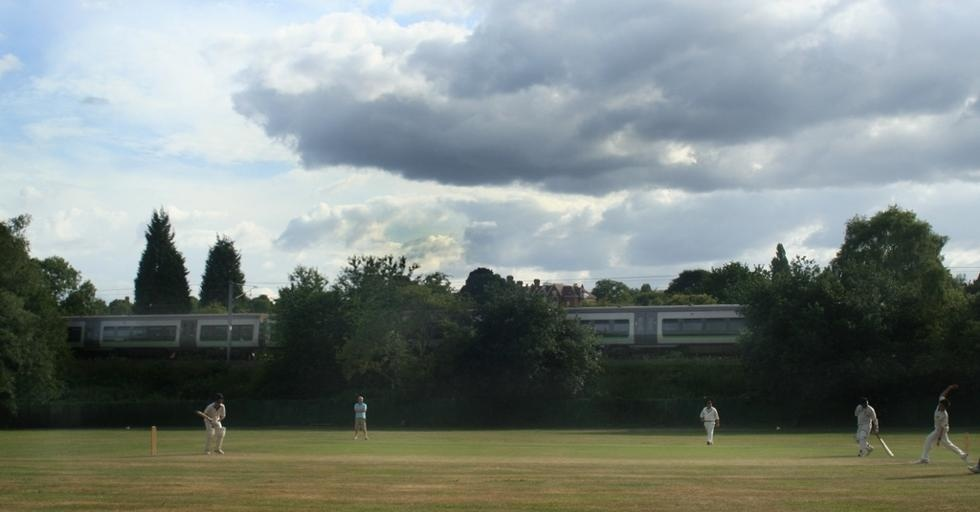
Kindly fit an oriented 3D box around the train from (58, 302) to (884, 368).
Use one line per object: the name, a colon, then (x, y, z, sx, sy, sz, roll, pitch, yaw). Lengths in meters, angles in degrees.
train: (-12.323, 9.122, 154.348, 81.822, 5.389, 4.867, -1, -8, 8)
